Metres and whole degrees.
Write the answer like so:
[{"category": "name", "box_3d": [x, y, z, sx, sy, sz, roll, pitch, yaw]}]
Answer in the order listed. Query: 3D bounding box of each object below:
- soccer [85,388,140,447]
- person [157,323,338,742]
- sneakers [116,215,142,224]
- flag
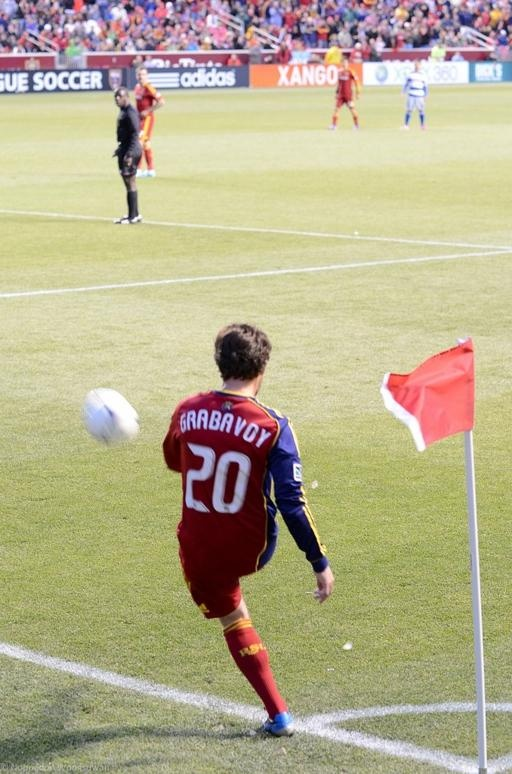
[{"category": "soccer", "box_3d": [-0.507, 0.106, 4.451, 0.178, 0.160, 0.210, -3, 15, -11]}, {"category": "person", "box_3d": [-0.041, 0.436, 3.920, 0.602, 1.248, 0.239, 6, 16, 24]}, {"category": "sneakers", "box_3d": [-1.489, -1.963, 14.979, 0.227, 0.106, 0.131, 0, 2, 8]}, {"category": "flag", "box_3d": [0.523, 0.037, 3.761, 0.334, 0.273, 0.129, -27, 15, -37]}]
